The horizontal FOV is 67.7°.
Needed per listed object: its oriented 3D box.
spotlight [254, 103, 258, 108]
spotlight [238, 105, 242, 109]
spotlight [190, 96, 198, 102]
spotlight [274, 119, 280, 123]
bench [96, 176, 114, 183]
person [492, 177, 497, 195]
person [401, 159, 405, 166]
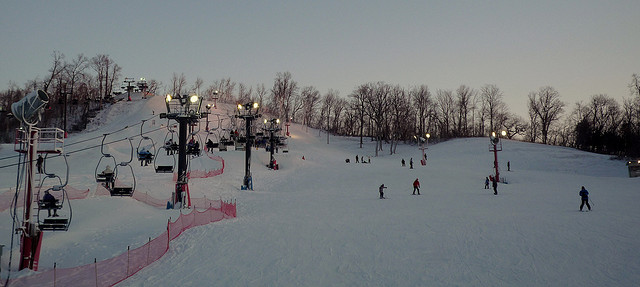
[{"bbox_3d":[-12.027,-7.185,89.753,0.573,0.778,1.181,1,0,-6],"label":"spotlight"},{"bbox_3d":[-14.753,-6.842,88.826,0.869,0.694,0.439,-2,8,-25],"label":"spotlight"},{"bbox_3d":[-21.636,-7.620,81.997,1.150,0.956,0.809,0,1,-33],"label":"spotlight"},{"bbox_3d":[-9.146,-4.700,100.390,1.161,0.474,0.918,-14,-8,13],"label":"spotlight"},{"bbox_3d":[-35.560,5.994,79.153,2.809,1.154,2.142,0,0,-17],"label":"bench"},{"bbox_3d":[32.718,8.091,89.253,0.797,2.825,1.435,1,1,15],"label":"person"},{"bbox_3d":[19.216,4.463,110.559,0.430,1.437,0.943,1,1,-2],"label":"person"}]
